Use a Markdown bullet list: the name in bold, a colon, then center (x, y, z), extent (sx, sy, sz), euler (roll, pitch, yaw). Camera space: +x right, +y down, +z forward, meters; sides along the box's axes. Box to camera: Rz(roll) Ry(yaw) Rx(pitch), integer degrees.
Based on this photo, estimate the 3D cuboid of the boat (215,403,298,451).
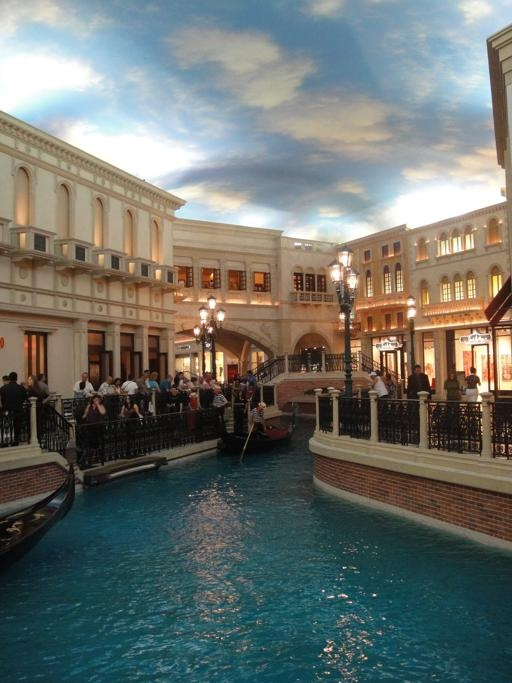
- **boat**: center (0.032, 3.286, 19.473), extent (1.233, 1.443, 3.805), euler (0, -1, 32)
